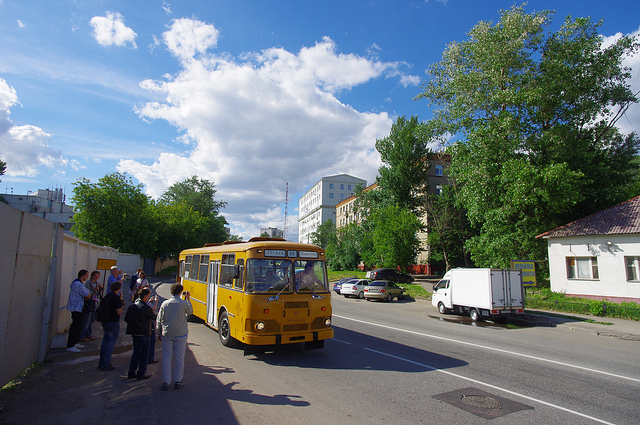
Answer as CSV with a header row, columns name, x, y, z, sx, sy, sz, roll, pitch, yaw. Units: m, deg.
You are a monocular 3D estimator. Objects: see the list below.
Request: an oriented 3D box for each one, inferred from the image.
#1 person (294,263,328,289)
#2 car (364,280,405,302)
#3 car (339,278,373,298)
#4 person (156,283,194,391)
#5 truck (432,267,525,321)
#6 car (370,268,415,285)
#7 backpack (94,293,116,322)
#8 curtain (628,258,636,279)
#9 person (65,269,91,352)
name,x,y,z,sx,sy,sz,roll,pitch,yaw
person,-0.395,2.401,14.714,0.821,1.059,0.319,8,-40,-22
car,5.222,6.319,31.473,3.089,1.613,1.242,1,0,-22
car,2.930,6.452,33.473,1.243,0.948,2.779,-3,-5,36
person,-4.544,3.792,12.261,1.022,3.108,1.091,0,1,-20
truck,9.571,4.953,24.315,2.522,2.932,5.539,4,-8,-23
car,7.754,6.620,40.808,4.072,1.428,1.895,0,-2,-21
backpack,-6.950,3.085,12.644,0.582,0.868,0.304,1,1,-10
curtain,20.589,3.665,25.745,0.419,1.367,0.074,2,2,37
person,-8.777,3.533,14.222,0.753,2.866,1.048,0,1,-33
